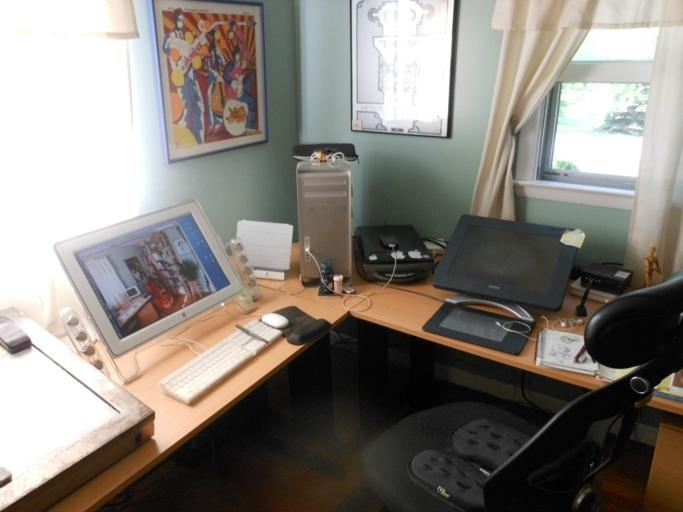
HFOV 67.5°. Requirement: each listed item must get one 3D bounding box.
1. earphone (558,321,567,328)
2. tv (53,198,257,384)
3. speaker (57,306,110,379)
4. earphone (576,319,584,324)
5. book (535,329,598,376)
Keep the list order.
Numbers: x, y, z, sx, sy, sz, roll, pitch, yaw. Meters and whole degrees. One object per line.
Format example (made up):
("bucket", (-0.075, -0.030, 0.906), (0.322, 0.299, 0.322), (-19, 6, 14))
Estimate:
("earphone", (0.929, 0.284, 2.148), (0.024, 0.044, 0.025), (5, 13, 8))
("tv", (-0.708, 0.103, 2.018), (0.308, 0.458, 0.638), (18, 30, 29))
("speaker", (-0.925, 0.302, 1.820), (0.096, 0.235, 0.110), (-16, 28, -28))
("earphone", (1.007, 0.276, 2.161), (0.021, 0.021, 0.020), (21, -9, 5))
("book", (0.855, 0.370, 1.963), (0.156, 0.038, 0.151), (-22, 28, -37))
